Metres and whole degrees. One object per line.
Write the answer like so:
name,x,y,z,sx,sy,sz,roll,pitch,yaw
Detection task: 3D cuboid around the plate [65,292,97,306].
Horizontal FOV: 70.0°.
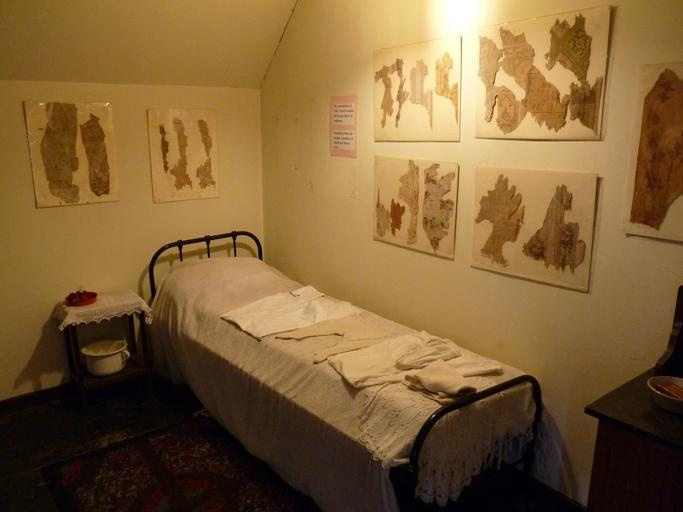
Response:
plate,-1.888,0.308,3.527,0.205,0.091,0.144,-11,15,-27

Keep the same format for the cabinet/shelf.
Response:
cabinet/shelf,-1.746,0.658,3.818,0.731,0.967,0.751,-9,16,-36

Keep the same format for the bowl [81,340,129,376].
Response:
bowl,-1.743,0.754,3.630,0.309,0.189,0.382,10,-37,-41
